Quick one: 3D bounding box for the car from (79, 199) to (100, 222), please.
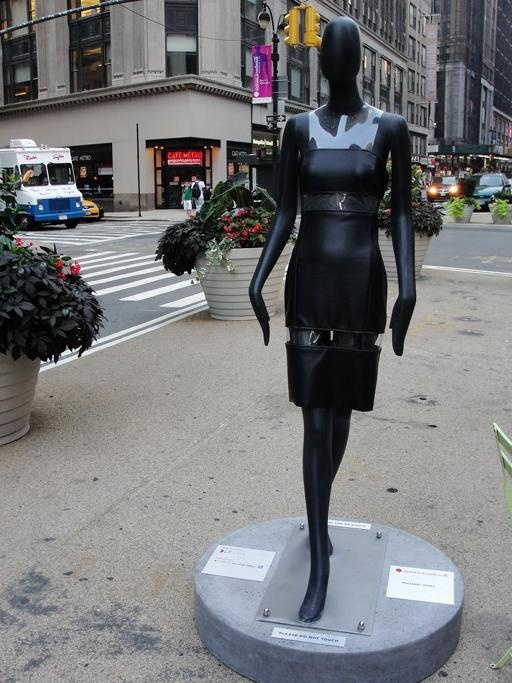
[{"bbox_3d":[-9.705,-7.873,33.170,1.049,0.941,2.161,-5,10,-24],"label":"car"}]

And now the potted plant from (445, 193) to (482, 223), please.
[{"bbox_3d":[10.066,-6.717,27.273,1.591,1.202,1.619,0,4,2],"label":"potted plant"}]

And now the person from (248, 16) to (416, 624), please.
[{"bbox_3d":[0.311,-0.131,2.034,0.599,2.014,0.512,-4,8,-22],"label":"person"}]
